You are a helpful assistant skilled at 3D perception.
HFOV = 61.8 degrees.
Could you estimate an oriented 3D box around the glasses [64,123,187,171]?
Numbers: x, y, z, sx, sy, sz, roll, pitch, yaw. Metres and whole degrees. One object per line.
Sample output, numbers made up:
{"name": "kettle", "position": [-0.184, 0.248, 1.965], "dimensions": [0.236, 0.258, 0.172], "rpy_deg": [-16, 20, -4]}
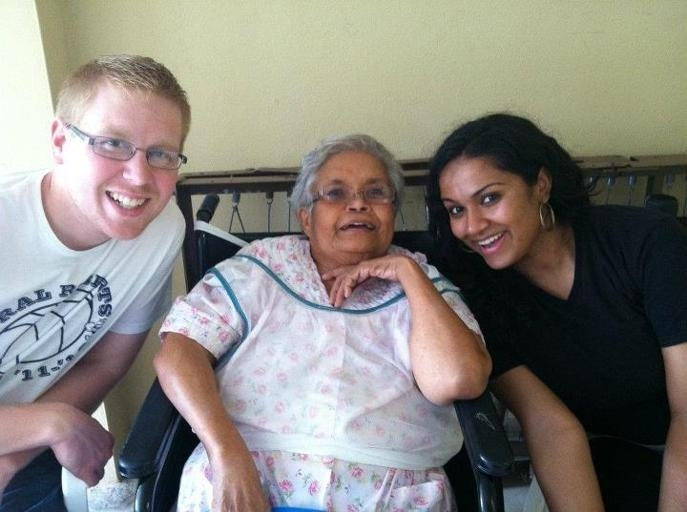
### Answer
{"name": "glasses", "position": [-0.643, -0.323, 1.704], "dimensions": [0.329, 0.137, 0.115], "rpy_deg": [-5, 14, -23]}
